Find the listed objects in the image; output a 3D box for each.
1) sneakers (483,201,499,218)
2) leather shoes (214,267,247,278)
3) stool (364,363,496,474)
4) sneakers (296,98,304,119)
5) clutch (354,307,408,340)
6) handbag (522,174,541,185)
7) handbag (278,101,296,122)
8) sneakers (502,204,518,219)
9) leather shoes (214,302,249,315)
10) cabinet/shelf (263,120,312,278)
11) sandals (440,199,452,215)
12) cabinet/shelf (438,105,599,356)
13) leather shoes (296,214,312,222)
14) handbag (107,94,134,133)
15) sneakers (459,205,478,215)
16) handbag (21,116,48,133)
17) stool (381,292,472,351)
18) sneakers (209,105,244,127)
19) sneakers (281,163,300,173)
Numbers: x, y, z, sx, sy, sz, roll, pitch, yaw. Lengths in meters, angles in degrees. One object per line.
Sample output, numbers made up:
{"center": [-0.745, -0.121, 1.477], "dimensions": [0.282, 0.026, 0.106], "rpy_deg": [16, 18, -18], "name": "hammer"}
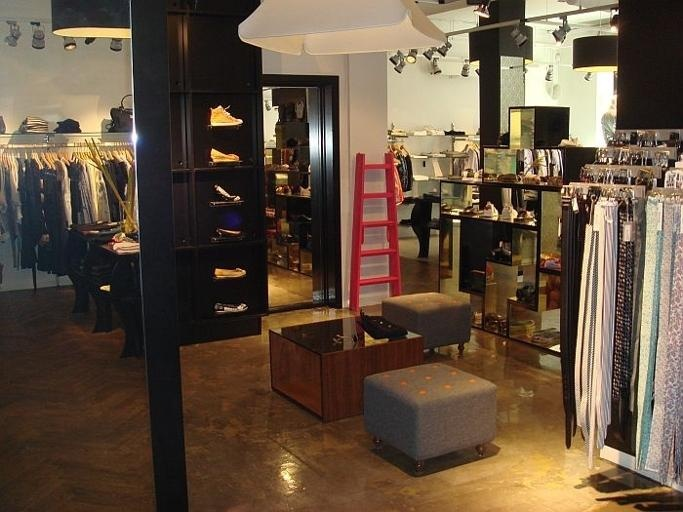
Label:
{"center": [1.579, -0.476, 6.070], "dimensions": [0.163, 0.168, 0.119], "rpy_deg": [2, 7, 19], "name": "sneakers"}
{"center": [-1.269, 0.162, 6.532], "dimensions": [0.340, 0.133, 0.124], "rpy_deg": [-3, 16, -15], "name": "leather shoes"}
{"center": [0.619, 0.964, 3.923], "dimensions": [0.665, 0.476, 0.659], "rpy_deg": [-7, 11, -33], "name": "stool"}
{"center": [-0.525, -1.828, 7.178], "dimensions": [0.136, 0.186, 0.044], "rpy_deg": [-4, 9, -42], "name": "sneakers"}
{"center": [0.303, 0.538, 4.833], "dimensions": [0.209, 0.143, 0.354], "rpy_deg": [-3, 13, -32], "name": "clutch"}
{"center": [1.865, -0.765, 5.678], "dimensions": [0.044, 0.099, 0.256], "rpy_deg": [-4, 12, -17], "name": "handbag"}
{"center": [-0.691, -1.797, 7.105], "dimensions": [0.125, 0.117, 0.229], "rpy_deg": [-7, -10, -3], "name": "handbag"}
{"center": [1.715, -0.460, 5.917], "dimensions": [0.122, 0.166, 0.165], "rpy_deg": [5, 7, 44], "name": "sneakers"}
{"center": [-1.253, 0.586, 6.502], "dimensions": [0.371, 0.148, 0.125], "rpy_deg": [-7, 10, -16], "name": "leather shoes"}
{"center": [-0.664, -0.779, 7.419], "dimensions": [0.728, 1.745, 0.205], "rpy_deg": [6, 14, 29], "name": "cabinet/shelf"}
{"center": [1.198, -0.570, 6.662], "dimensions": [0.153, 0.187, 0.144], "rpy_deg": [3, 5, 27], "name": "sandals"}
{"center": [1.836, -0.593, 6.420], "dimensions": [0.482, 2.039, 1.812], "rpy_deg": [16, 0, -1], "name": "cabinet/shelf"}
{"center": [-0.488, -0.494, 7.416], "dimensions": [0.151, 0.058, 0.088], "rpy_deg": [5, -1, -28], "name": "leather shoes"}
{"center": [-0.936, -0.610, 2.437], "dimensions": [0.116, 0.140, 0.076], "rpy_deg": [20, 21, 32], "name": "handbag"}
{"center": [1.411, -0.499, 6.387], "dimensions": [0.156, 0.097, 0.052], "rpy_deg": [-4, -9, 44], "name": "sneakers"}
{"center": [-1.283, -0.549, 2.408], "dimensions": [0.087, 0.069, 0.034], "rpy_deg": [0, 2, -16], "name": "handbag"}
{"center": [0.847, 0.563, 5.783], "dimensions": [0.626, 0.485, 0.622], "rpy_deg": [-5, 11, -22], "name": "stool"}
{"center": [-1.227, -1.512, 6.231], "dimensions": [0.413, 0.245, 0.149], "rpy_deg": [-4, 14, -17], "name": "sneakers"}
{"center": [-0.666, -1.118, 7.299], "dimensions": [0.235, 0.103, 0.049], "rpy_deg": [-3, 11, -9], "name": "sneakers"}
